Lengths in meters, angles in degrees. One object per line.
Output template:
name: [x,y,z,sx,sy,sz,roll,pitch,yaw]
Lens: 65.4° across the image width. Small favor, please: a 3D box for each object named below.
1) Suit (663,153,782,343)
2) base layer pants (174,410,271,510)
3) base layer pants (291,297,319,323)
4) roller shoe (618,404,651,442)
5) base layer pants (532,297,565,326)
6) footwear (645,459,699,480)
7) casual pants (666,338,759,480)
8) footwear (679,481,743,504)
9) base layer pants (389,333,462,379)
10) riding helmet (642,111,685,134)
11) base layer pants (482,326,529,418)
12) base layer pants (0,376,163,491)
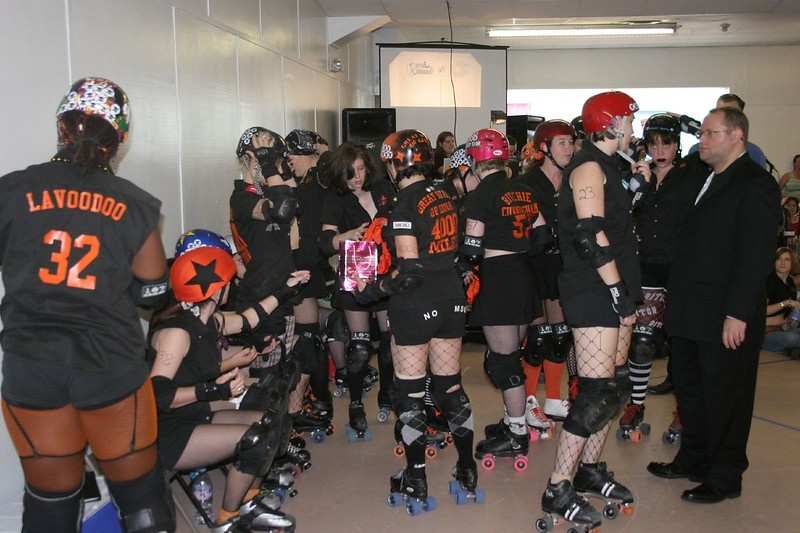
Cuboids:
Suit: [2.297,-0.129,4.466,0.371,1.326,0.612,-5,11,-29]
base layer pants: [-1.106,1.204,3.925,0.569,0.473,0.472,28,20,-14]
base layer pants: [-0.756,0.348,5.160,0.190,0.311,0.202,-2,1,16]
roller shoe: [1.985,1.351,5.350,0.168,0.281,0.445,-5,-7,28]
base layer pants: [1.305,0.389,5.608,0.275,0.298,0.272,-2,-3,6]
footwear: [2.093,1.581,4.778,0.318,0.143,0.136,6,0,19]
casual pants: [2.249,1.029,4.598,0.580,1.143,0.392,6,11,34]
footwear: [2.220,1.616,4.453,0.361,0.157,0.162,2,-3,-6]
base layer pants: [0.172,0.628,4.371,0.496,0.369,0.273,-4,3,-22]
riding helmet: [2.238,-1.180,5.307,0.203,0.256,0.240,-2,-5,-35]
base layer pants: [0.853,0.798,4.960,0.387,0.682,0.257,-13,9,-29]
base layer pants: [-1.648,0.874,3.445,0.848,0.659,0.510,-5,8,1]
